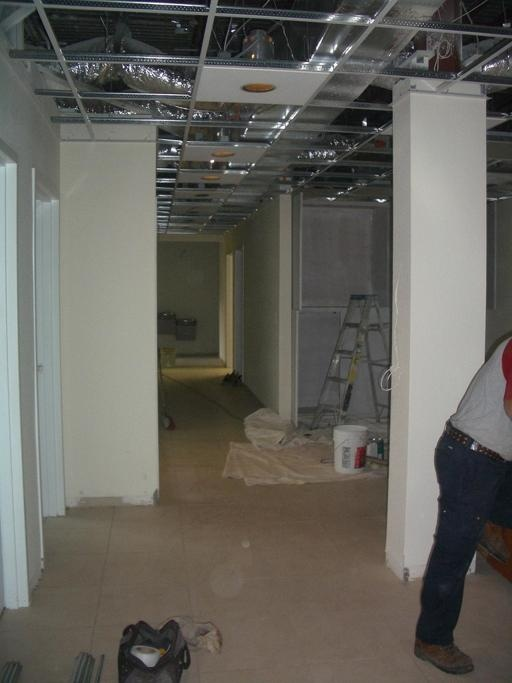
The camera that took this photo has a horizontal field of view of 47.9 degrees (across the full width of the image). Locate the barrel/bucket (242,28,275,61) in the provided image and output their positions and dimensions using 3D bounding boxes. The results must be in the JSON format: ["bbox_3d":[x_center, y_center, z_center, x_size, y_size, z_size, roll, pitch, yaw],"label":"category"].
[{"bbox_3d":[0.005,-1.410,2.731,0.152,0.173,0.112,0,4,-2],"label":"barrel/bucket"}]

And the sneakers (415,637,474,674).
[{"bbox_3d":[0.772,1.302,2.356,0.197,0.079,0.099,1,5,33],"label":"sneakers"}]

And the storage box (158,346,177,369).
[{"bbox_3d":[-2.011,0.376,13.026,0.446,0.582,0.424,-2,0,-11],"label":"storage box"}]

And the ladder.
[{"bbox_3d":[1.120,0.245,6.796,0.865,1.624,1.259,1,4,11],"label":"ladder"}]

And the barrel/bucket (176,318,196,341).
[{"bbox_3d":[-1.788,-0.297,14.620,0.507,0.508,0.516,5,-1,0],"label":"barrel/bucket"}]

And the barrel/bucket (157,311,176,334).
[{"bbox_3d":[-2.041,-0.407,13.067,0.527,0.664,0.676,-1,3,-5],"label":"barrel/bucket"}]

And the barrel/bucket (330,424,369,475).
[{"bbox_3d":[0.869,1.004,5.348,0.351,0.374,0.358,1,-2,0],"label":"barrel/bucket"}]
